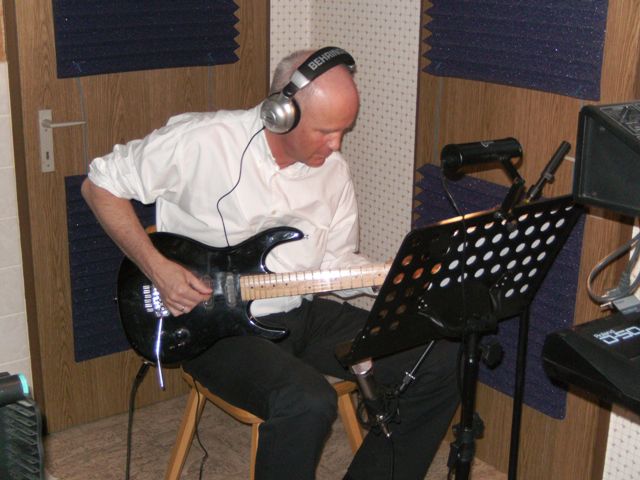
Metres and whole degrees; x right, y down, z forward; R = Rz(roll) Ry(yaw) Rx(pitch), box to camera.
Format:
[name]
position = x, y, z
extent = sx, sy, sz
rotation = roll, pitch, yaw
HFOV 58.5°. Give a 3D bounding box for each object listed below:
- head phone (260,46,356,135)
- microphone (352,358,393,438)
[head phone]
position = -0.038, -0.515, 1.980
extent = 0.325, 0.302, 0.170
rotation = 1, 11, -6
[microphone]
position = 0.181, 0.541, 2.040
extent = 0.101, 0.316, 0.094
rotation = -15, -18, 0
